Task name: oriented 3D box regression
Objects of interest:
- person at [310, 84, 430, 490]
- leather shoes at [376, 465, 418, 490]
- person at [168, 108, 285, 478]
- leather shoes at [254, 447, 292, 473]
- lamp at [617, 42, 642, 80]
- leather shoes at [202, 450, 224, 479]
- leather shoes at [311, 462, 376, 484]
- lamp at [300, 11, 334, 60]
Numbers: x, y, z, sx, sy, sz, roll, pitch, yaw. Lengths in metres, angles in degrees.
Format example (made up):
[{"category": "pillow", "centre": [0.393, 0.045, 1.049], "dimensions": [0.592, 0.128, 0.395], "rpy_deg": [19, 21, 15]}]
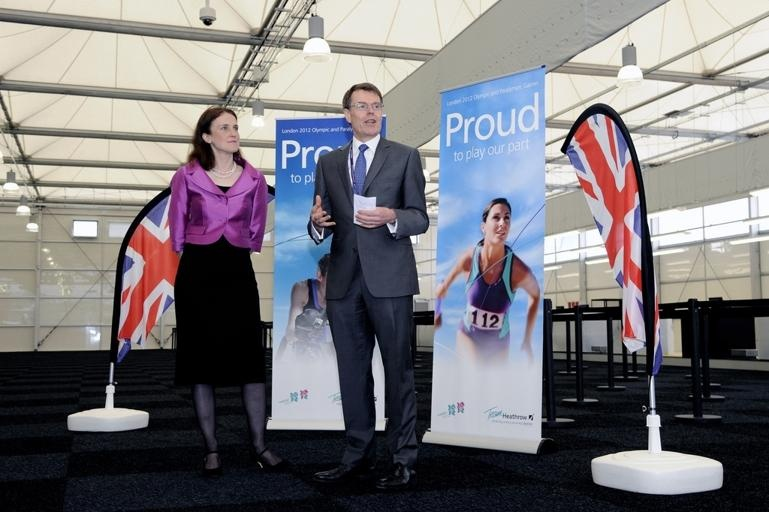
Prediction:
[{"category": "person", "centre": [-0.118, 0.204, 5.116], "dimensions": [0.868, 2.970, 0.509], "rpy_deg": [-1, -7, 3]}, {"category": "leather shoes", "centre": [0.079, 1.620, 4.993], "dimensions": [0.250, 0.117, 0.140], "rpy_deg": [7, -13, -30]}, {"category": "person", "centre": [-1.244, 0.251, 5.277], "dimensions": [0.755, 2.779, 0.330], "rpy_deg": [1, -7, -13]}, {"category": "leather shoes", "centre": [-0.833, 1.598, 5.356], "dimensions": [0.335, 0.147, 0.119], "rpy_deg": [-8, -8, 26]}, {"category": "lamp", "centre": [3.453, -2.757, 9.830], "dimensions": [0.371, 0.538, 0.359], "rpy_deg": [-26, 28, -36]}, {"category": "leather shoes", "centre": [-1.298, 1.602, 5.229], "dimensions": [0.118, 0.156, 0.376], "rpy_deg": [2, -11, -13]}, {"category": "leather shoes", "centre": [-0.310, 1.629, 5.095], "dimensions": [0.462, 0.215, 0.159], "rpy_deg": [4, -6, -15]}, {"category": "lamp", "centre": [-0.943, -3.065, 9.545], "dimensions": [0.353, 0.752, 0.464], "rpy_deg": [1, -7, -8]}]
